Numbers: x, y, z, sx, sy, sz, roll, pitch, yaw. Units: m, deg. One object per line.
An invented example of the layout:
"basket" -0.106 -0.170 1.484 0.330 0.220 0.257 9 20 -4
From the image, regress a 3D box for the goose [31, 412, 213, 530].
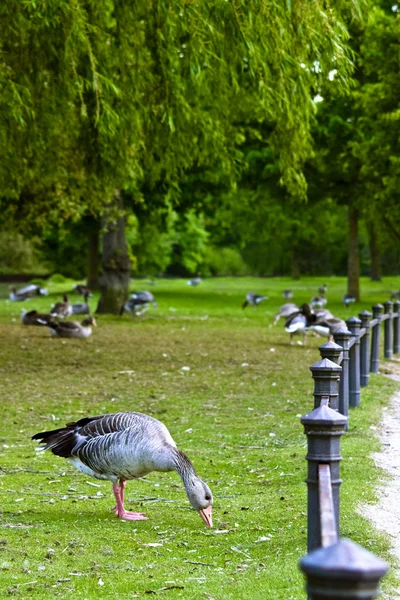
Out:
"goose" -0.609 1.249 10.567 1.101 1.083 1.036 -1 3 -31

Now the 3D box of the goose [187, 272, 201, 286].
"goose" -0.083 -0.269 17.390 0.069 0.124 0.298 1 11 29

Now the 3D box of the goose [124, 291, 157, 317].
"goose" -0.774 0.024 16.491 0.402 0.266 0.272 -6 9 -10
